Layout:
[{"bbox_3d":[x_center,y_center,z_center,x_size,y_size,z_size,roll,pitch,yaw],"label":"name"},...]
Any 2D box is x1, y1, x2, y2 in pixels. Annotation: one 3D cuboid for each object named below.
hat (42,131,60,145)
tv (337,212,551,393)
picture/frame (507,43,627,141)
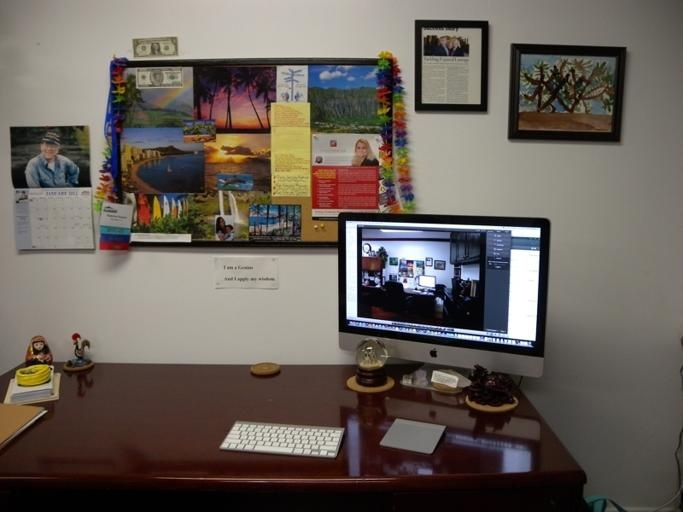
[{"bbox_3d":[-1.243,-0.503,2.381,0.050,0.036,0.073,6,12,-23],"label":"hat"},{"bbox_3d":[0.389,0.167,2.121,0.694,0.512,0.173,2,6,15],"label":"tv"},{"bbox_3d":[0.946,-0.700,2.319,0.398,0.332,0.028,1,6,-5],"label":"picture/frame"}]
